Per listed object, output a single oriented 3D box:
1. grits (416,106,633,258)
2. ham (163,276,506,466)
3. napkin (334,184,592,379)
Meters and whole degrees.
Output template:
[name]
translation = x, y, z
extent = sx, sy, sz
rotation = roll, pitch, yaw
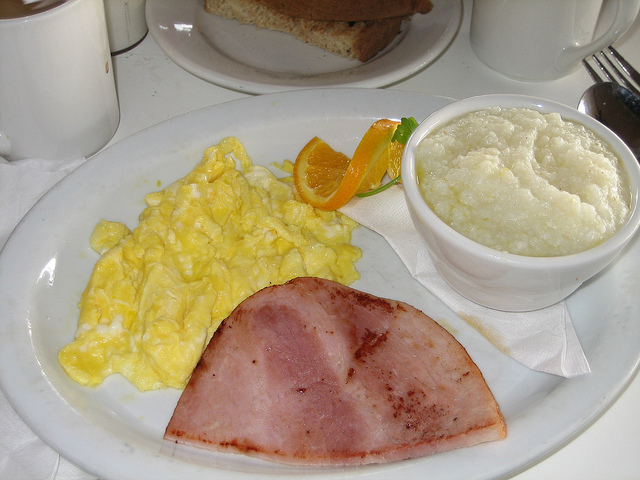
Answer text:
[grits]
translation = 0.440, -0.139, 1.271
extent = 0.448, 0.128, 0.365
rotation = 1, 73, -5
[ham]
translation = 0.049, 0.311, 1.372
extent = 0.734, 0.147, 0.453
rotation = 13, 72, -1
[napkin]
translation = 0.337, 0.156, 1.480
extent = 0.566, 0.071, 0.228
rotation = 21, 46, -2
